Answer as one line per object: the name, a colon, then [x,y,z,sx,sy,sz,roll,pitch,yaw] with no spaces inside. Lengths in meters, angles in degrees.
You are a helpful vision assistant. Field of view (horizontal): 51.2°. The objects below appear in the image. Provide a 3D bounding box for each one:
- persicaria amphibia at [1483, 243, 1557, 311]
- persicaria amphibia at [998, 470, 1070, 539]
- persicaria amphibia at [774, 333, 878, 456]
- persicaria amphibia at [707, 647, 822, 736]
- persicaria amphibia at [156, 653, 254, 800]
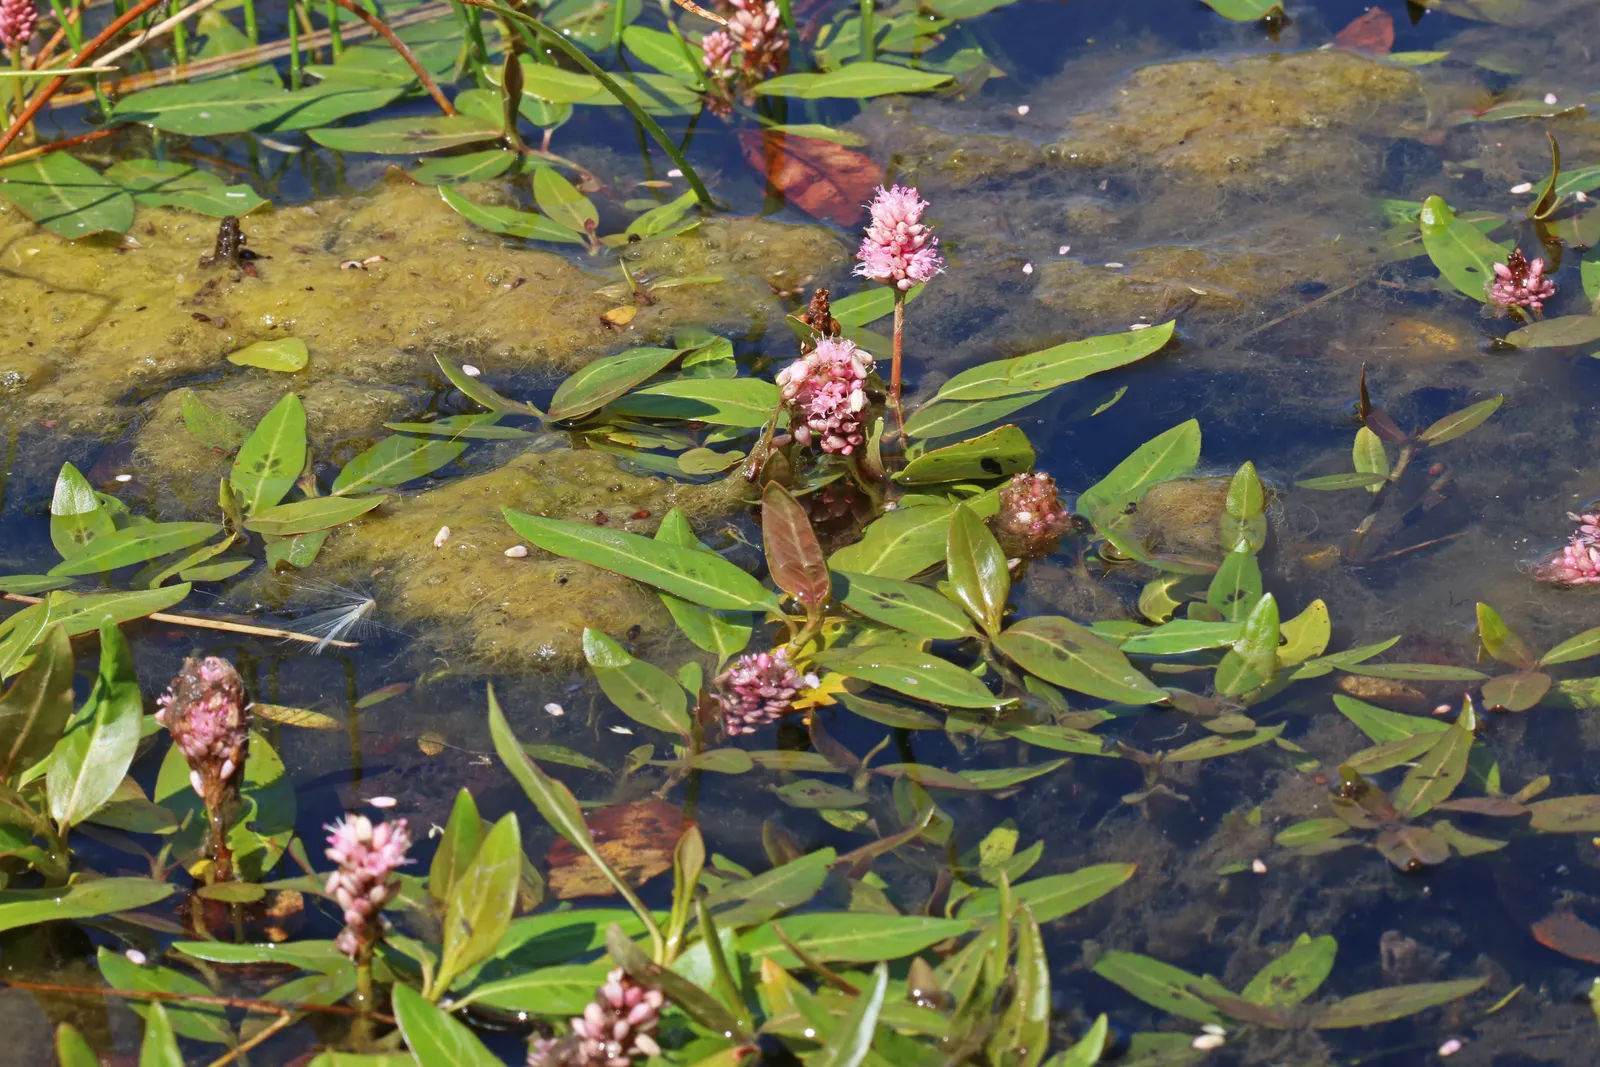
persicaria amphibia: [2.519,-0.879,5.855,0.211,0.108,0.229,-26,76,22]
persicaria amphibia: [0.755,-0.084,5.401,0.230,0.161,0.207,2,67,5]
persicaria amphibia: [0.138,-0.465,5.399,0.396,0.334,0.354,-9,22,3]
persicaria amphibia: [-0.119,0.470,5.038,0.342,0.128,0.208,-30,68,-9]
persicaria amphibia: [-1.612,0.535,4.656,0.268,0.188,0.373,-11,83,36]
